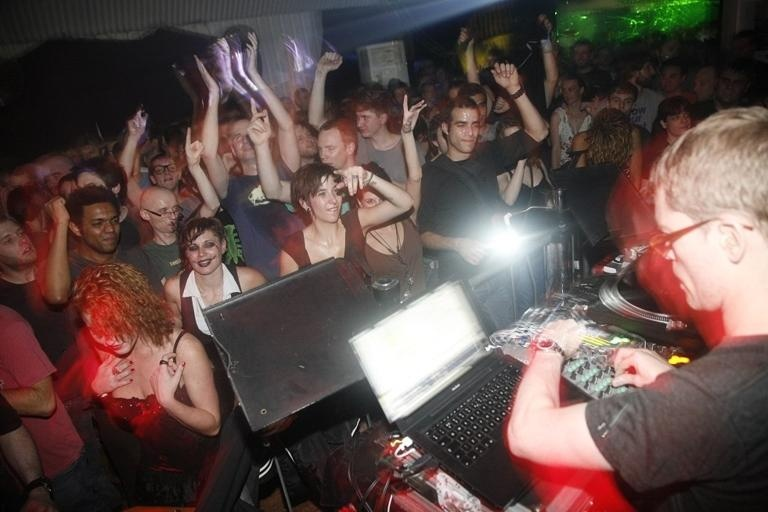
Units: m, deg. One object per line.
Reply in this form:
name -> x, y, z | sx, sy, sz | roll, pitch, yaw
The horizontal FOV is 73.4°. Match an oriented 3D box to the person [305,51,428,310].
person -> -0.297, -0.465, 3.903 | 0.903, 1.883, 0.533 | 23, 29, 10
